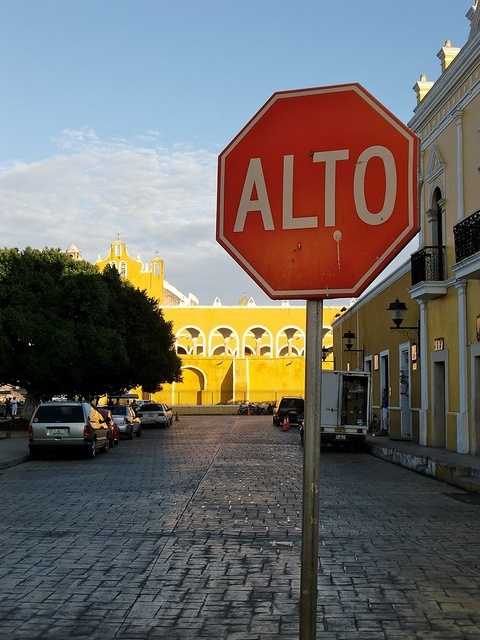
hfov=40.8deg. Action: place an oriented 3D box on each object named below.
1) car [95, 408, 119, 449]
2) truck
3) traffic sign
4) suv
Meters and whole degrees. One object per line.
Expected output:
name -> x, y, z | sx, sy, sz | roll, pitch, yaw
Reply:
car -> -5.130, 3.992, 24.325 | 0.815, 1.069, 1.950 | -1, -22, 0
truck -> 3.752, 3.042, 22.679 | 1.712, 2.511, 1.467 | -1, -7, 12
traffic sign -> 0.261, -0.401, 2.069 | 0.550, 0.689, 0.101 | -4, -6, 21
suv -> -4.873, 3.171, 18.859 | 1.213, 1.289, 2.511 | 0, -1, 2
